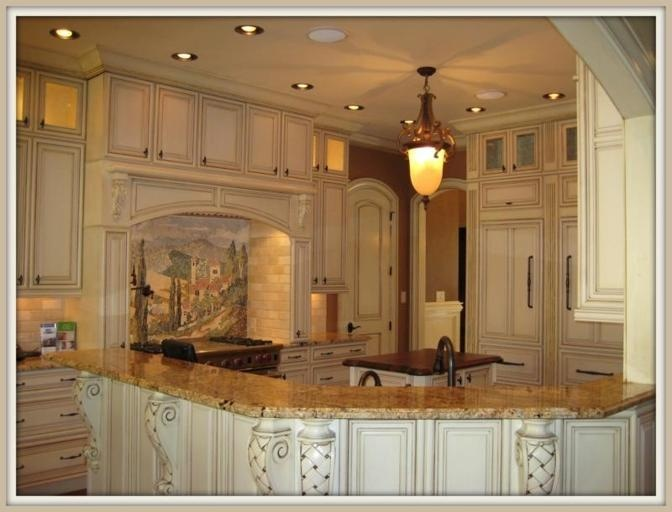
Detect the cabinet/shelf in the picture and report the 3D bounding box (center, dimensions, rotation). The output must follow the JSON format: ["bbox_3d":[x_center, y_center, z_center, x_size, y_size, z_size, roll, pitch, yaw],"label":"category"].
[{"bbox_3d":[-0.993,-0.375,5.426,3.797,2.242,3.766,0,-1,-44],"label":"cabinet/shelf"}]
